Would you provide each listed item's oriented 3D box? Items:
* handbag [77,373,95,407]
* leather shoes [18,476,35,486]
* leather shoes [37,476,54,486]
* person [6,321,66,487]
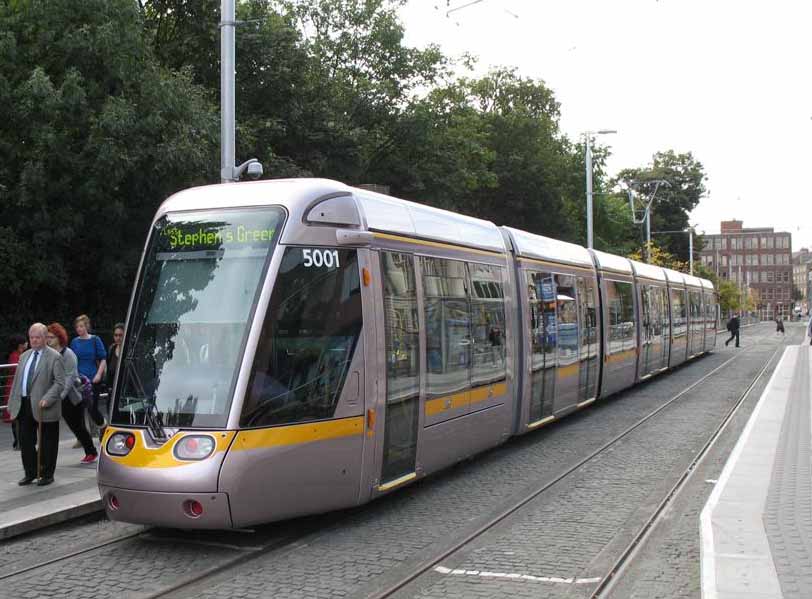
[{"bbox_3d":[-4.688,1.338,10.563,0.146,0.440,0.304,-14,-6,18],"label":"handbag"},{"bbox_3d":[-4.942,2.356,9.339,0.183,0.109,0.176,0,0,-9],"label":"leather shoes"},{"bbox_3d":[-4.649,2.351,9.256,0.080,0.098,0.226,0,-14,-9],"label":"leather shoes"},{"bbox_3d":[-4.833,1.362,9.423,0.682,2.092,0.476,0,1,30],"label":"person"}]
